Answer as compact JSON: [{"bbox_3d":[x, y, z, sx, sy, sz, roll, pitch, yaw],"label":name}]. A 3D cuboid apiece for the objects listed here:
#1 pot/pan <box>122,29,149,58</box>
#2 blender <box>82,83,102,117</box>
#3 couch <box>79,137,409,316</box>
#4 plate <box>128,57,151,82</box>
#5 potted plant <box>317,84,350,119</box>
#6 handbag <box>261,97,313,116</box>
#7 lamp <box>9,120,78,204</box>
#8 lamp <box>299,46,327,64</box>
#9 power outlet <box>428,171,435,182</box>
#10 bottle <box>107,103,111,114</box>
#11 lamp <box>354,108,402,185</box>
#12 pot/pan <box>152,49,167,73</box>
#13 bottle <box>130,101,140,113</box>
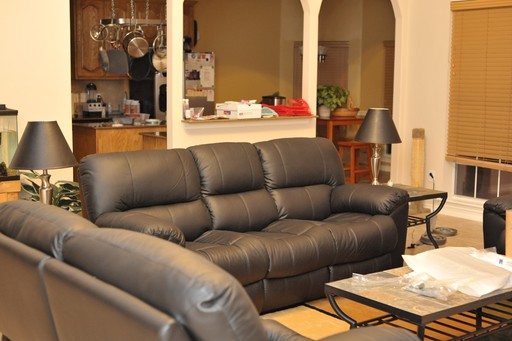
[{"bbox_3d":[-1.536,-1.599,5.361,0.341,0.370,0.144,-1,28,-18],"label":"pot/pan"},{"bbox_3d":[-3.119,-1.308,8.015,0.372,0.645,0.398,-6,8,-21],"label":"blender"},{"bbox_3d":[0.054,0.442,3.874,2.832,1.140,1.288,-5,12,-38],"label":"couch"},{"bbox_3d":[-1.588,-1.335,5.597,0.308,0.284,0.080,1,14,-35],"label":"plate"},{"bbox_3d":[1.340,-1.152,7.591,0.662,0.566,0.622,0,-2,-17],"label":"potted plant"},{"bbox_3d":[0.476,-0.874,6.162,0.535,0.170,0.375,-2,7,-24],"label":"handbag"},{"bbox_3d":[-1.714,-0.199,3.380,0.485,0.377,0.237,-6,8,-24],"label":"lamp"},{"bbox_3d":[1.204,-2.381,8.933,0.568,0.492,0.598,0,4,8],"label":"lamp"},{"bbox_3d":[2.693,0.104,6.492,0.098,0.145,0.024,4,12,45],"label":"power outlet"},{"bbox_3d":[-2.853,-1.200,8.249,0.079,0.212,0.219,-6,8,-18],"label":"bottle"},{"bbox_3d":[1.400,-0.201,4.866,0.545,0.849,0.547,13,17,31],"label":"lamp"},{"bbox_3d":[-1.232,-1.399,5.387,0.186,0.273,0.320,-5,8,-16],"label":"pot/pan"},{"bbox_3d":[-2.374,-1.225,8.300,0.161,0.250,0.192,-3,8,5],"label":"bottle"}]
